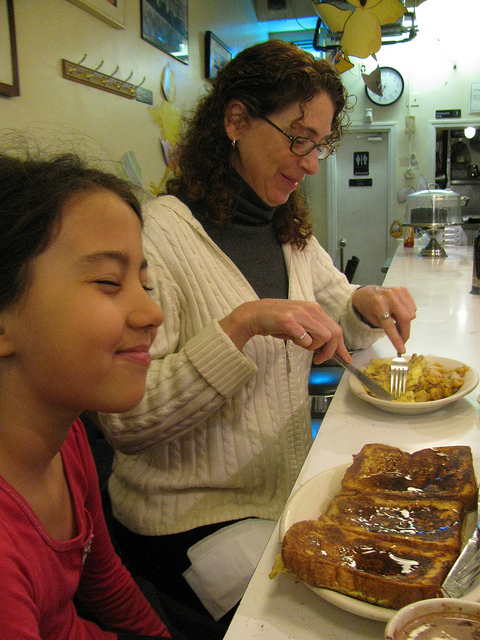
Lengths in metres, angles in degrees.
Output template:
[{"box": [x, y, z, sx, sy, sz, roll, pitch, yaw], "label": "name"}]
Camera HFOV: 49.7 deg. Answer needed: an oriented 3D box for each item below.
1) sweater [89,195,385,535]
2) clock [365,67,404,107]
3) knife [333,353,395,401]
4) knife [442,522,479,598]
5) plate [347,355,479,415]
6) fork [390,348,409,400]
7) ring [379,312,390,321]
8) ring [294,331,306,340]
[{"box": [0.001, 0.130, 1.374, 0.860, 0.757, 0.579, -5, 4, -39], "label": "sweater"}, {"box": [1.735, -2.807, 6.240, 0.462, 0.433, 0.201, -5, 10, 17], "label": "clock"}, {"box": [0.297, 0.133, 1.214, 0.026, 0.019, 0.226, -42, 58, -12], "label": "knife"}, {"box": [0.222, 0.243, 0.533, 0.022, 0.005, 0.121, 17, 13, 26], "label": "knife"}, {"box": [0.387, 0.141, 1.165, 0.276, 0.059, 0.342, -5, 9, 13], "label": "plate"}, {"box": [0.366, 0.117, 1.193, 0.024, 0.019, 0.170, -2, 36, 25], "label": "fork"}, {"box": [0.390, -0.014, 1.383, 0.026, 0.016, 0.024, -31, -16, -10], "label": "ring"}, {"box": [0.117, 0.031, 1.011, 0.024, 0.013, 0.012, -8, 9, -4], "label": "ring"}]
